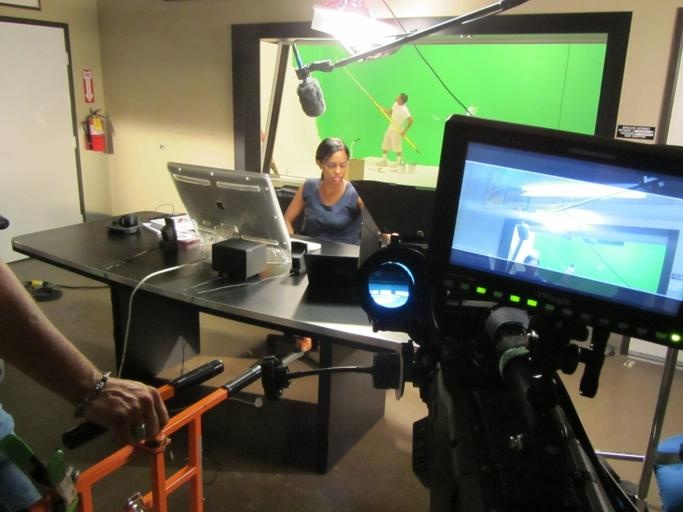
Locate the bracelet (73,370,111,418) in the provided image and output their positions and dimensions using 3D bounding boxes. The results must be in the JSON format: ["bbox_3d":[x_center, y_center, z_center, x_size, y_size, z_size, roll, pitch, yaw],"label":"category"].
[{"bbox_3d":[-0.587,0.329,1.288,0.027,0.102,0.079,29,-18,17],"label":"bracelet"}]

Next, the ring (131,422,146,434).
[{"bbox_3d":[-0.489,0.416,1.287,0.025,0.027,0.027,-6,60,10],"label":"ring"}]

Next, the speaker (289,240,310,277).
[{"bbox_3d":[-0.209,0.014,2.573,0.099,0.159,0.154,3,8,18],"label":"speaker"}]

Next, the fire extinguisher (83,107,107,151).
[{"bbox_3d":[-2.584,-1.316,5.590,0.127,0.425,0.336,4,19,1],"label":"fire extinguisher"}]

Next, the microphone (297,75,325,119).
[{"bbox_3d":[-0.139,-0.696,2.346,0.114,0.174,0.259,4,19,-1],"label":"microphone"}]

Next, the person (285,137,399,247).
[{"bbox_3d":[-0.069,-0.222,3.622,0.738,1.054,0.480,9,25,9],"label":"person"}]
